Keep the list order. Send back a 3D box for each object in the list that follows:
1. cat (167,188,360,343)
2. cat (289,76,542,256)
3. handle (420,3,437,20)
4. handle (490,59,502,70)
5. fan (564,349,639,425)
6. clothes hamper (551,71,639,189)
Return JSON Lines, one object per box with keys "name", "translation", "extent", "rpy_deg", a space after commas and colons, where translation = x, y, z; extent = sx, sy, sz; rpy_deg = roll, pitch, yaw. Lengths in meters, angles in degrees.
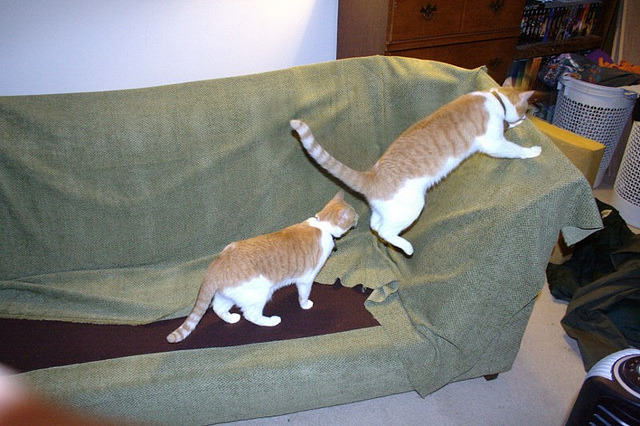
{"name": "cat", "translation": [-0.243, 0.267, 2.490], "extent": [1.050, 0.543, 0.237], "rpy_deg": [-17, 37, -36]}
{"name": "cat", "translation": [0.453, -0.186, 2.426], "extent": [1.078, 0.641, 0.356], "rpy_deg": [-10, 32, -10]}
{"name": "handle", "translation": [0.618, -1.169, 3.080], "extent": [0.109, 0.119, 0.012], "rpy_deg": [-11, 54, -3]}
{"name": "handle", "translation": [1.140, -0.971, 3.486], "extent": [0.073, 0.053, 0.025], "rpy_deg": [-36, 38, 17]}
{"name": "fan", "translation": [0.987, 0.612, 1.831], "extent": [0.206, 0.238, 0.217], "rpy_deg": [11, 35, 24]}
{"name": "clothes hamper", "translation": [1.760, -0.607, 3.733], "extent": [0.633, 0.731, 0.503], "rpy_deg": [4, 28, 9]}
